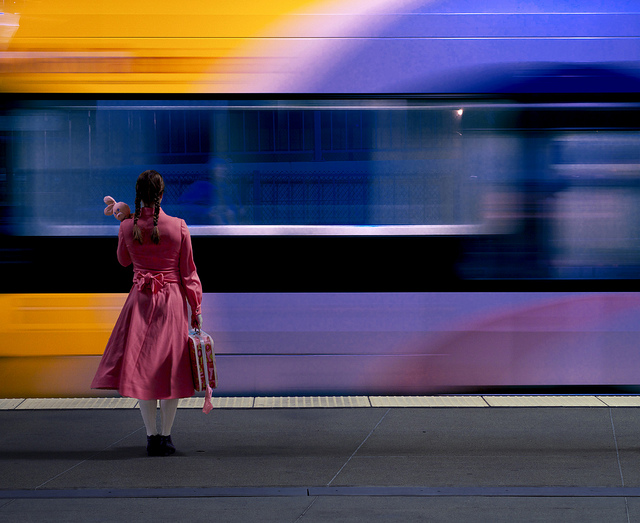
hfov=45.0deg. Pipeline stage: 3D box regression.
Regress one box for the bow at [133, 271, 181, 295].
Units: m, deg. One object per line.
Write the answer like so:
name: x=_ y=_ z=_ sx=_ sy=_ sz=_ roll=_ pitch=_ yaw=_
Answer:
bow: x=-1.184 y=0.151 z=5.506 sx=0.207 sy=0.101 sz=0.227 roll=-3 pitch=-3 yaw=22

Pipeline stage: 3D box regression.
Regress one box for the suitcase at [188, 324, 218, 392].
suitcase: x=-0.835 y=0.713 z=5.488 sx=0.160 sy=0.368 sz=0.153 roll=-5 pitch=12 yaw=-24

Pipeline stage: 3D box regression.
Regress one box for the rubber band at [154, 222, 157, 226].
rubber band: x=-1.163 y=-0.264 z=5.437 sx=0.021 sy=0.018 sz=0.019 roll=1 pitch=-6 yaw=1

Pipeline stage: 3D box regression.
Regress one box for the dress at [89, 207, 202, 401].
dress: x=-1.240 y=0.302 z=5.483 sx=0.746 sy=1.358 sz=0.453 roll=0 pitch=11 yaw=-3

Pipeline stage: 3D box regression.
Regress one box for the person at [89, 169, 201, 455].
person: x=-1.339 y=0.400 z=5.635 sx=0.979 sy=1.881 sz=0.747 roll=0 pitch=0 yaw=-23
